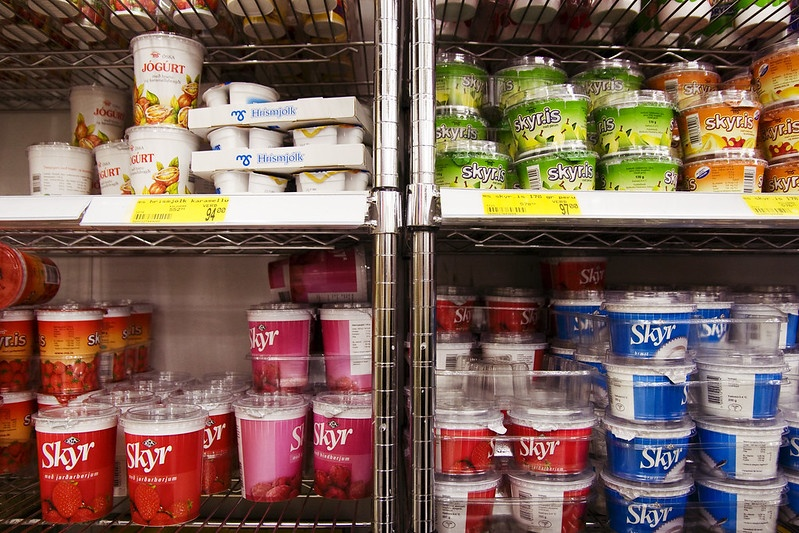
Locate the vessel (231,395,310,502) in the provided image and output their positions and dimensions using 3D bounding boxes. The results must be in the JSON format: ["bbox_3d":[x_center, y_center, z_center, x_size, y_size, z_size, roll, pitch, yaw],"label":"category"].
[{"bbox_3d":[-0.379,0.570,2.292,0.304,0.288,0.279,2,-9,-28],"label":"vessel"}]

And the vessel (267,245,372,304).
[{"bbox_3d":[-0.260,0.024,2.483,0.391,0.220,0.239,-5,1,5],"label":"vessel"}]

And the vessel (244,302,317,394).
[{"bbox_3d":[-0.303,0.264,2.268,0.285,0.266,0.263,0,-4,-3],"label":"vessel"}]

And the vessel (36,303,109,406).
[{"bbox_3d":[-1.058,0.273,2.357,0.216,0.272,0.232,-2,0,28],"label":"vessel"}]
